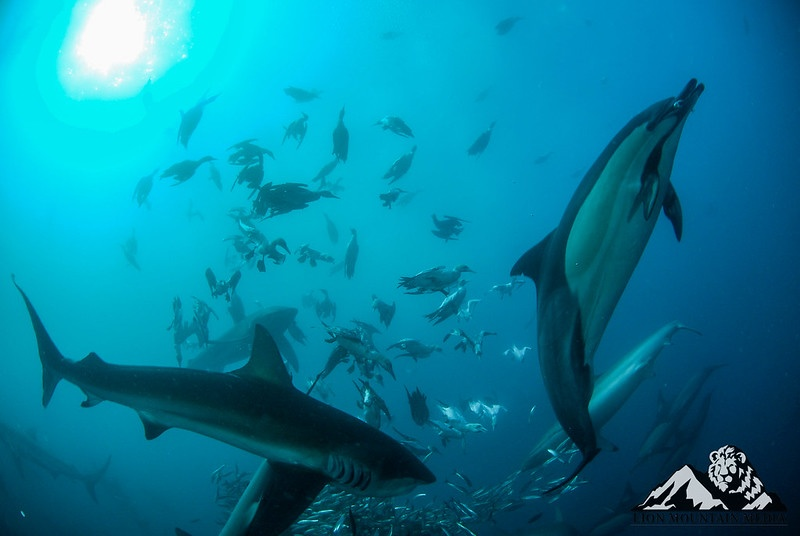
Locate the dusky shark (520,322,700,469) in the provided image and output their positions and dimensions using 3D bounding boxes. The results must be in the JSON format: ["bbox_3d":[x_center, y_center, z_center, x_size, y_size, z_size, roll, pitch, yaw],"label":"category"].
[{"bbox_3d":[4.225,2.611,14.171,0.950,3.629,1.116,41,4,18],"label":"dusky shark"}]
